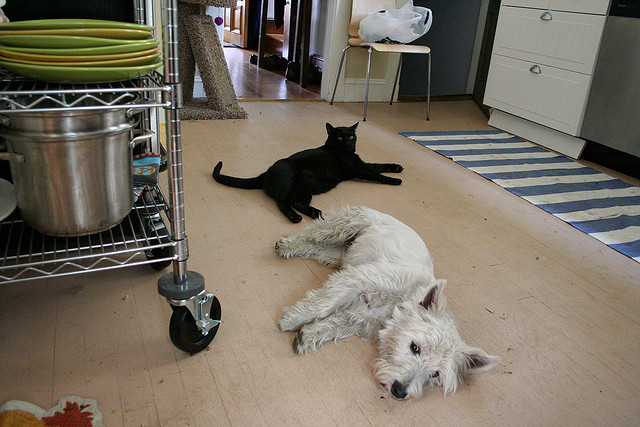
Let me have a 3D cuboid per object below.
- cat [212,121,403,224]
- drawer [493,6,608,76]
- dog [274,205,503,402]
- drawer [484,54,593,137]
[{"bbox_3d":[-0.018,-0.291,2.460,0.687,0.293,0.918,26,36,33],"label":"cat"},{"bbox_3d":[1.653,-1.272,3.253,0.570,0.379,0.770,-15,37,-37],"label":"drawer"},{"bbox_3d":[0.141,0.270,1.586,0.594,0.310,0.809,-8,32,-20],"label":"dog"},{"bbox_3d":[1.908,-0.979,3.511,0.720,0.489,0.956,-6,28,-13],"label":"drawer"}]
